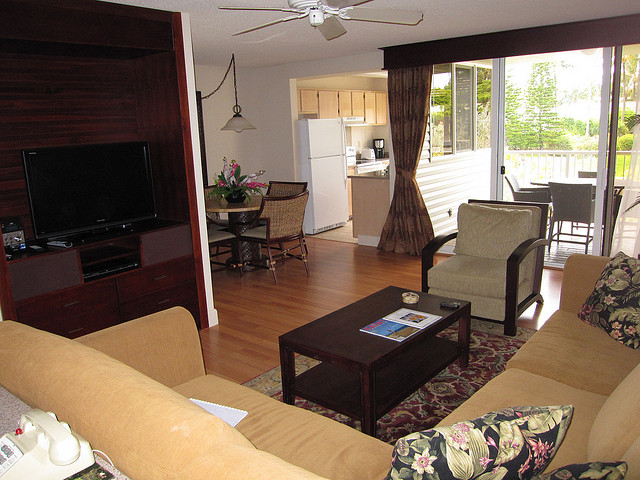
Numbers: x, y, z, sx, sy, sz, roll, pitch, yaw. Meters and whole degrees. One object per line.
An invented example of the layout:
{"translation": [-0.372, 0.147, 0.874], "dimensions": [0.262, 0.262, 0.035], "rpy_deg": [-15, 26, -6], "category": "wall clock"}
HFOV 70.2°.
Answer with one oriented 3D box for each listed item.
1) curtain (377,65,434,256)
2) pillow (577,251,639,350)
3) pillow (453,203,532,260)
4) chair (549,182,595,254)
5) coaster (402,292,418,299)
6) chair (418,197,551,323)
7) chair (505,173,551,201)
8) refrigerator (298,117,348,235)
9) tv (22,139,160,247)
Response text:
{"translation": [1.171, -1.035, 6.193], "dimensions": [0.756, 2.473, 0.518], "rpy_deg": [2, 16, 22], "category": "curtain"}
{"translation": [1.801, 0.370, 2.747], "dimensions": [0.144, 0.465, 0.468], "rpy_deg": [14, 39, 3], "category": "pillow"}
{"translation": [1.619, -0.062, 4.173], "dimensions": [0.508, 0.351, 0.192], "rpy_deg": [6, 12, 36], "category": "pillow"}
{"translation": [3.116, -0.282, 5.501], "dimensions": [0.530, 0.719, 0.536], "rpy_deg": [2, 6, 13], "category": "chair"}
{"translation": [0.671, 0.413, 3.353], "dimensions": [0.110, 0.033, 0.109], "rpy_deg": [4, 16, 28], "category": "coaster"}
{"translation": [1.333, 0.151, 4.285], "dimensions": [1.111, 1.261, 1.207], "rpy_deg": [5, 11, 40], "category": "chair"}
{"translation": [2.641, -0.654, 5.685], "dimensions": [0.397, 0.527, 0.375], "rpy_deg": [4, 21, 30], "category": "chair"}
{"translation": [0.065, -1.074, 7.680], "dimensions": [0.387, 1.860, 0.964], "rpy_deg": [7, 19, 37], "category": "refrigerator"}
{"translation": [-1.976, -0.381, 3.813], "dimensions": [0.227, 0.612, 0.897], "rpy_deg": [9, 17, 42], "category": "tv"}
